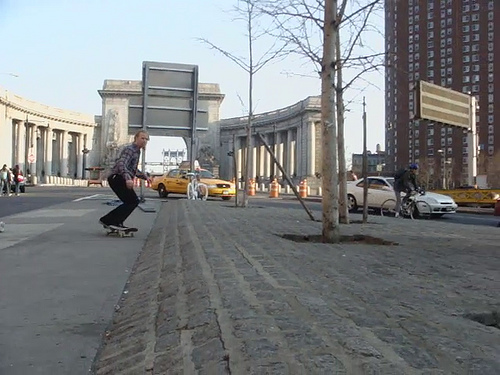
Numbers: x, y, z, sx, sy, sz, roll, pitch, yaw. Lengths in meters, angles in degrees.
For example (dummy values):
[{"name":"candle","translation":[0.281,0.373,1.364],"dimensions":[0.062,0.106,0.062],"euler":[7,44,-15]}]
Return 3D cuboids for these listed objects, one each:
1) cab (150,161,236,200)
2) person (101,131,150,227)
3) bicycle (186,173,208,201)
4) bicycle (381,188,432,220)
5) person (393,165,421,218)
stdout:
[{"name":"cab","translation":[-3.674,-0.288,27.660],"dimensions":[5.389,2.450,2.163],"euler":[-1,-3,32]},{"name":"person","translation":[-2.322,-0.127,8.609],"dimensions":[0.899,1.659,1.023],"euler":[-2,1,-14]},{"name":"bicycle","translation":[-2.883,0.077,23.997],"dimensions":[0.766,1.013,1.611],"euler":[-3,-7,12]},{"name":"bicycle","translation":[6.058,0.635,17.412],"dimensions":[1.963,1.329,1.026],"euler":[-3,0,10]},{"name":"person","translation":[5.643,0.095,16.701],"dimensions":[0.967,1.764,0.730],"euler":[-2,1,2]}]
